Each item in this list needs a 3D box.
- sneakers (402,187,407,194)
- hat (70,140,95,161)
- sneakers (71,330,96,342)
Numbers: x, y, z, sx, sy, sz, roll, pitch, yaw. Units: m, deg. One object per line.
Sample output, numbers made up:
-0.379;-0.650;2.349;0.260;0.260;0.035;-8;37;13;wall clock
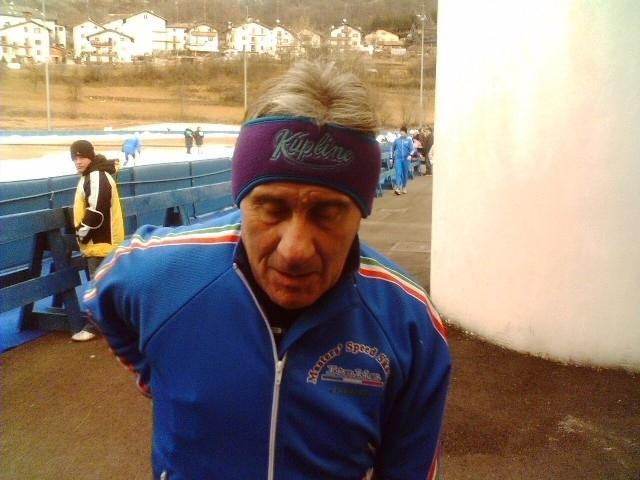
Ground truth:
2.809;-1.603;18.867;0.125;0.215;0.458;-1;2;4;sneakers
-2.649;-0.965;6.314;0.194;0.249;0.281;-2;-5;-8;hat
-2.447;0.996;5.922;0.104;0.092;0.206;-2;-9;4;sneakers
